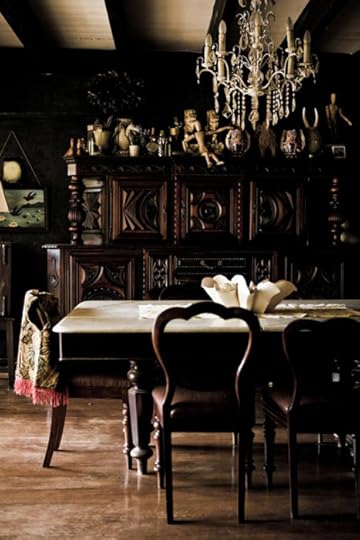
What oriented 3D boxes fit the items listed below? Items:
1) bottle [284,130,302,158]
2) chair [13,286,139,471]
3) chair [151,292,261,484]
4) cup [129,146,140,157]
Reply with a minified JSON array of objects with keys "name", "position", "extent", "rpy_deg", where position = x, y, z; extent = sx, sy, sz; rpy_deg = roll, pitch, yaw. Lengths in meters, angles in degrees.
[{"name":"bottle","position":[0.878,-0.998,4.799],"extent":[0.147,0.217,0.073],"rpy_deg":[6,4,25]},{"name":"chair","position":[-0.583,0.503,3.340],"extent":[0.747,1.090,0.713],"rpy_deg":[0,-2,-6]},{"name":"chair","position":[0.110,0.544,2.532],"extent":[0.447,0.878,0.492],"rpy_deg":[0,4,-3]},{"name":"cup","position":[-0.366,-0.945,4.818],"extent":[0.086,0.103,0.089],"rpy_deg":[1,2,0]}]
